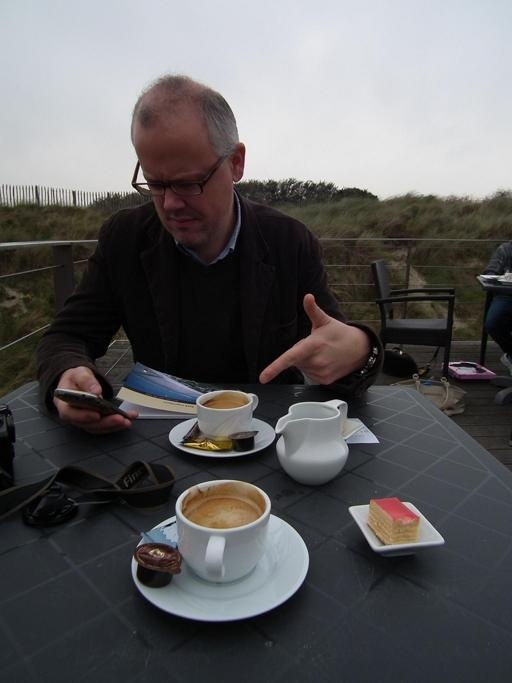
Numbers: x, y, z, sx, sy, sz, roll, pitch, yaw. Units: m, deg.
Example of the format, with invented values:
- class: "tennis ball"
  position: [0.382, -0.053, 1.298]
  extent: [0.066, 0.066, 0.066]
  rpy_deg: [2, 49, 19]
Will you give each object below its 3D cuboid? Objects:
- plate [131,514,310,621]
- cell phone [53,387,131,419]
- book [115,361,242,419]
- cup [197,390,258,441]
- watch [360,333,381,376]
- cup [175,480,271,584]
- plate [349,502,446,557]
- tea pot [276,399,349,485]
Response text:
- class: "plate"
  position: [-0.032, 0.175, 0.414]
  extent: [0.103, 0.071, 0.094]
  rpy_deg: [1, 12, 5]
- class: "cell phone"
  position: [-0.264, 0.098, 0.752]
  extent: [0.106, 0.024, 0.058]
  rpy_deg: [17, -9, -39]
- class: "book"
  position: [-0.175, 0.099, 1.040]
  extent: [0.294, 0.071, 0.234]
  rpy_deg: [8, 13, 29]
- class: "cup"
  position: [-0.050, 0.114, 0.788]
  extent: [0.087, 0.065, 0.073]
  rpy_deg: [-9, 20, -38]
- class: "watch"
  position: [0.252, 0.030, 1.017]
  extent: [0.031, 0.075, 0.065]
  rpy_deg: [18, -6, 1]
- class: "cup"
  position: [-0.035, 0.170, 0.455]
  extent: [0.110, 0.063, 0.118]
  rpy_deg: [1, 14, 0]
- class: "plate"
  position: [0.140, 0.185, 0.518]
  extent: [0.100, 0.040, 0.083]
  rpy_deg: [-1, 12, -16]
- class: "tea pot"
  position: [0.093, 0.133, 0.686]
  extent: [0.123, 0.095, 0.116]
  rpy_deg: [4, 15, -1]
